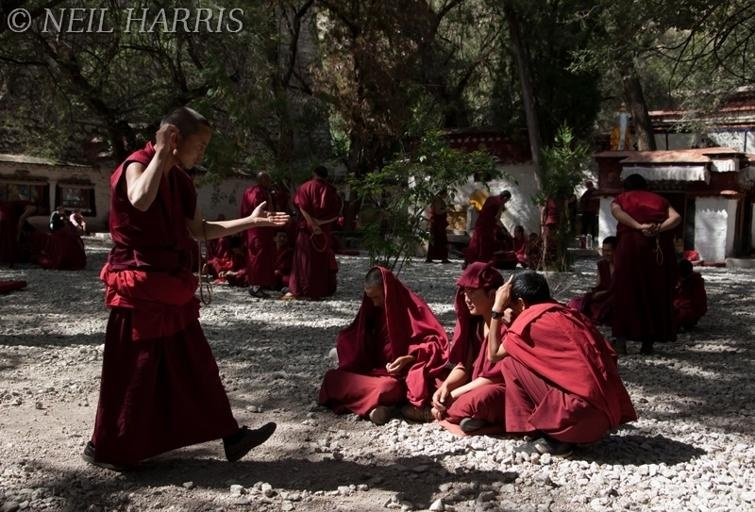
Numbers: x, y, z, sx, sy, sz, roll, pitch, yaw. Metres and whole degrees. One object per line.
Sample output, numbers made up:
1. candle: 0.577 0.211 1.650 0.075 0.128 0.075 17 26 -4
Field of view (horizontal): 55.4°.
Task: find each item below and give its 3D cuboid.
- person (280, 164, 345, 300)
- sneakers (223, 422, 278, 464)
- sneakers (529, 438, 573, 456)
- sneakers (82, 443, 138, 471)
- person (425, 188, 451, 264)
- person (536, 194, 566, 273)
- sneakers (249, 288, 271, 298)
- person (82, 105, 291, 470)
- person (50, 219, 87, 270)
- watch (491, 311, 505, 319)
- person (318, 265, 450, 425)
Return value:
1. person: -0.888 -0.325 10.431 0.772 1.901 0.615 1 6 -39
2. sneakers: -0.955 1.395 5.340 0.396 0.176 0.131 -30 28 -20
3. sneakers: 1.324 1.448 5.491 0.317 0.155 0.121 -1 3 6
4. sneakers: -1.958 1.462 5.174 0.430 0.183 0.167 2 2 19
5. person: 1.316 -0.558 15.602 0.483 1.455 0.920 1 10 5
6. person: 3.436 -0.454 13.964 0.452 1.437 0.799 2 10 14
7. sneakers: -1.712 0.517 10.524 0.398 0.182 0.153 3 8 22
8. person: -1.522 0.257 5.138 1.226 2.583 0.698 -5 11 -25
9. person: -5.661 -0.009 13.166 0.712 0.555 0.982 18 37 -34
10. watch: 0.974 0.467 5.720 0.067 0.038 0.057 2 2 -14
11. person: -0.021 0.846 6.693 1.390 1.656 1.169 -2 -4 42
